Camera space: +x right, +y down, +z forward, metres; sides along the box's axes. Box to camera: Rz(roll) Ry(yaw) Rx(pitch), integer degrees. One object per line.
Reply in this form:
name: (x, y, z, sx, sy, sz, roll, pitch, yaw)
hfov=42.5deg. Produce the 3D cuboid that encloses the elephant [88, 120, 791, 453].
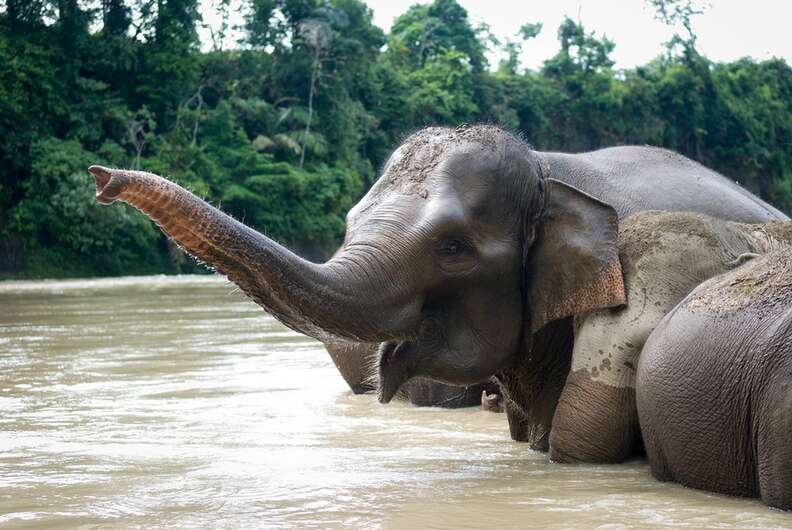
elephant: (0.394, 0.185, 5.624, 3.657, 1.939, 1.021, -2, 3, -36)
